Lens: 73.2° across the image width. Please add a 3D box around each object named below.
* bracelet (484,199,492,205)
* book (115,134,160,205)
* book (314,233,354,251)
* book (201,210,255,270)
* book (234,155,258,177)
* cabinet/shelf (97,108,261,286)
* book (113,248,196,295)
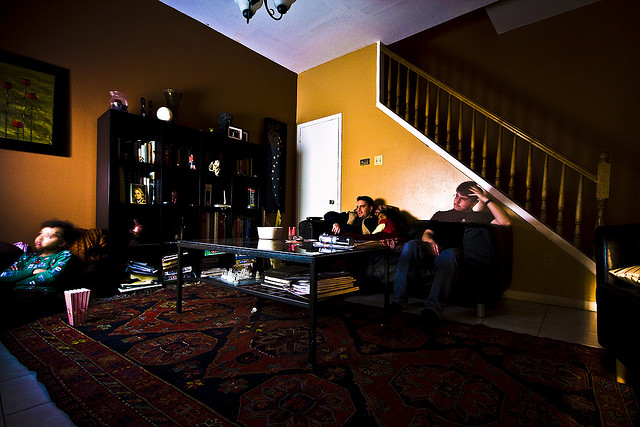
[{"bbox_3d":[2.009,-0.138,5.166,0.056,0.041,0.055,-5,4,-45],"label":"bracelet"},{"bbox_3d":[-2.135,-0.499,5.092,0.526,0.762,0.374,-5,11,-34],"label":"book"},{"bbox_3d":[0.120,0.264,3.886,0.256,0.094,0.159,7,9,34],"label":"book"},{"bbox_3d":[-1.141,0.325,5.182,0.761,0.678,0.404,0,3,-35],"label":"book"},{"bbox_3d":[-1.052,-0.659,6.171,0.069,0.271,0.300,5,11,42],"label":"book"},{"bbox_3d":[-1.771,-0.181,5.180,0.534,2.068,2.304,-4,-5,40],"label":"cabinet/shelf"},{"bbox_3d":[-1.926,0.640,5.074,0.502,0.238,0.673,0,1,42],"label":"book"}]
